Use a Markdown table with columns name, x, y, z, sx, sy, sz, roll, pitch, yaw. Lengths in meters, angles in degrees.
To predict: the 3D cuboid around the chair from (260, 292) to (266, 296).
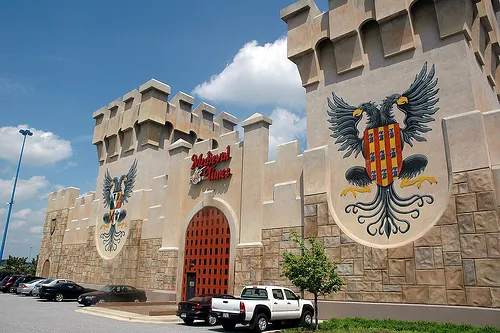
| name | x | y | z | sx | sy | sz | roll | pitch | yaw |
| --- | --- | --- | --- | --- | --- | --- | --- | --- | --- |
| chair | 0.731 | 7.305 | 19.806 | 0.362 | 0.362 | 0.196 | -1 | -22 | 10 |

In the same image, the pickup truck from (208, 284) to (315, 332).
| name | x | y | z | sx | sy | sz | roll | pitch | yaw |
| --- | --- | --- | --- | --- | --- | --- | --- | --- | --- |
| pickup truck | 0.941 | 8.219 | 20.193 | 5.524 | 2.461 | 1.849 | 11 | -23 | -30 |
